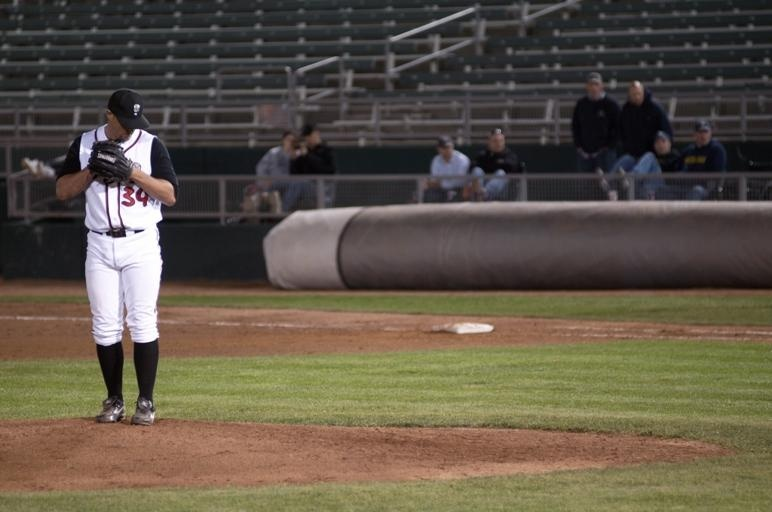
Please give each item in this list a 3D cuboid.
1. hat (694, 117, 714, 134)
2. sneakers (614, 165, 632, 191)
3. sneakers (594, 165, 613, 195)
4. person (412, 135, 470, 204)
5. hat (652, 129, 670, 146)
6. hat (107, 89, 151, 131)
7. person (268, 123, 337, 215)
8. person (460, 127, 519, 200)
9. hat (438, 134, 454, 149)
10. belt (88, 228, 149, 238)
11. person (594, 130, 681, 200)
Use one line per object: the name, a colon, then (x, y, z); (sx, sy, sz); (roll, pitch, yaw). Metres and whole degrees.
hat: (5.429, -2.245, 33.124); (0.320, 0.228, 0.422); (-7, -28, 3)
sneakers: (3.948, -1.305, 32.125); (0.161, 0.384, 0.246); (-14, 37, 23)
sneakers: (3.652, -1.246, 32.252); (0.162, 0.585, 0.175); (-32, 5, -38)
person: (1.061, -1.498, 33.071); (0.792, 1.094, 0.997); (1, 5, 31)
hat: (4.588, -1.989, 32.077); (0.267, 0.214, 0.337); (0, 4, 6)
hat: (-3.420, -2.030, 25.889); (0.479, 0.360, 0.719); (-12, 45, -43)
person: (-1.282, -1.538, 33.235); (0.872, 1.397, 0.512); (1, -3, 12)
person: (1.808, -1.552, 32.711); (0.993, 1.194, 0.475); (0, 4, 2)
hat: (1.045, -1.997, 33.653); (0.316, 0.127, 0.445); (2, 18, 2)
belt: (-3.588, -0.304, 25.851); (0.740, 0.113, 0.140); (0, 4, -2)
person: (4.217, -1.642, 32.136); (0.813, 1.168, 1.822); (10, -1, 35)
